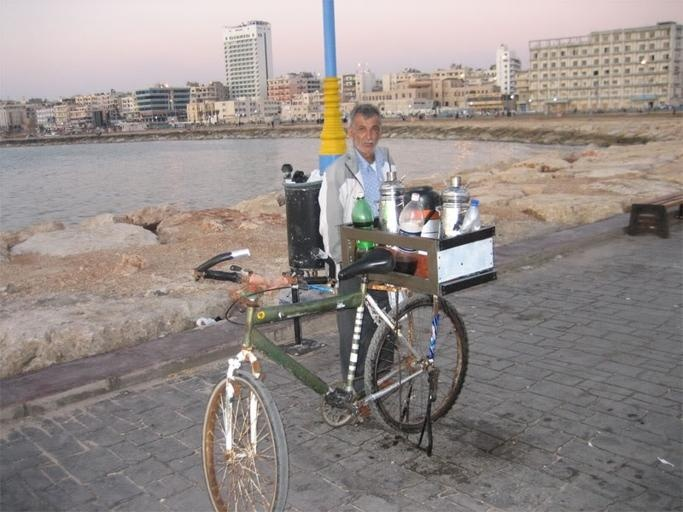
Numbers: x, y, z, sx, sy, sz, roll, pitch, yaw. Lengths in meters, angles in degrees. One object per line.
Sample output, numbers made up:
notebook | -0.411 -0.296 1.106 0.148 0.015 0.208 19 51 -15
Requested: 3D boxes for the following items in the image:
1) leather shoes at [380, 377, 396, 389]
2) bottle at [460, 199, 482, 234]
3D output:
leather shoes | 0.301 0.865 3.889 0.163 0.036 0.038 -10 -20 -28
bottle | 0.838 -0.269 3.743 0.126 0.202 0.301 -2 14 12
